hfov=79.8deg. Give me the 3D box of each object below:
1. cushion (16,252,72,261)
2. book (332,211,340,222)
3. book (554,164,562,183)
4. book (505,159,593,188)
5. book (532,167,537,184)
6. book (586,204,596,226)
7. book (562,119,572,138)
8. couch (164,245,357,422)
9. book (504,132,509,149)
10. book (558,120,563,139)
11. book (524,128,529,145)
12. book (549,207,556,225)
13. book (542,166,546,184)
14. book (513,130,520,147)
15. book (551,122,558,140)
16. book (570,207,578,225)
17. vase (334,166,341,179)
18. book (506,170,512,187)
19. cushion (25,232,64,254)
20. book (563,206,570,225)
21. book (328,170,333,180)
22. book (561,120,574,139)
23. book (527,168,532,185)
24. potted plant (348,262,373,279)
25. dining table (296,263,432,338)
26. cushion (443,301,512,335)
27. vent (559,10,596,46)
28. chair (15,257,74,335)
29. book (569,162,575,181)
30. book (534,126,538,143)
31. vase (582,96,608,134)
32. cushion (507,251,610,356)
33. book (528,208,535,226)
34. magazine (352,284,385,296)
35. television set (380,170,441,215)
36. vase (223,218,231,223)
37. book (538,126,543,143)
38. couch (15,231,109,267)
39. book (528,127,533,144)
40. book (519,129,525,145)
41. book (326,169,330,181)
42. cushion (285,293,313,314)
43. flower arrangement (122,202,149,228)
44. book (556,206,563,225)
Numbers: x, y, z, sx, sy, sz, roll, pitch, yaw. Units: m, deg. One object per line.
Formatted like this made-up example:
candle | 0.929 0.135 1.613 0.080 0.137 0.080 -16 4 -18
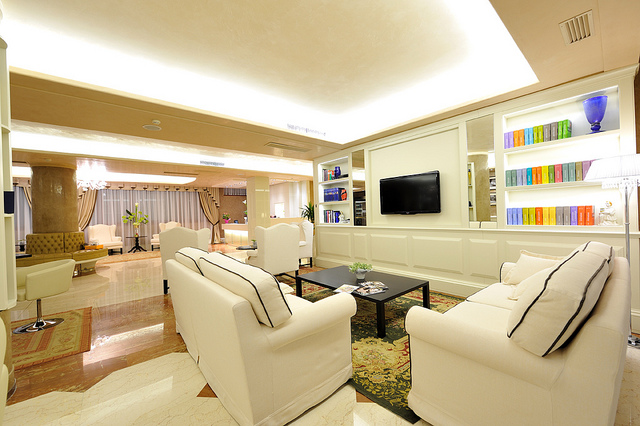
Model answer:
cushion | -5.721 0.907 8.021 0.233 0.112 0.965 -2 -1 37
book | 0.344 0.080 8.361 0.037 0.149 0.157 4 0 -42
book | 3.318 -0.555 5.338 0.092 0.231 0.019 -1 0 33
book | 3.216 -0.555 5.449 1.047 0.230 0.164 -2 0 32
book | 3.078 -0.539 5.491 0.058 0.244 0.029 -1 0 34
book | 3.660 0.044 5.175 0.121 0.377 0.266 0 -2 35
book | 3.457 -1.165 5.326 0.190 0.254 0.078 -1 0 -32
couch | -0.627 0.580 4.445 1.499 1.593 2.907 -9 8 -40
book | 2.755 -1.078 5.676 0.044 0.170 0.185 4 10 15
book | 3.339 -1.160 5.324 0.043 0.179 0.175 3 -1 37
book | 2.989 -1.104 5.535 0.040 0.169 0.167 0 3 26
book | 3.274 0.043 5.393 0.078 0.239 0.020 -1 0 38
book | 3.173 -0.543 5.427 0.038 0.244 0.033 -1 0 31
book | 2.881 -1.100 5.612 0.041 0.171 0.167 3 7 11
book | 3.277 -1.148 5.356 0.078 0.236 0.026 -1 0 30
book | 3.482 0.037 5.256 0.087 0.242 0.015 -1 0 43
vase | 0.386 -0.866 8.250 0.128 0.231 0.159 -1 0 -17
book | 2.795 -0.515 5.663 0.076 0.157 0.017 -1 0 23
cushion | -5.873 0.645 8.209 0.666 0.539 0.292 -1 0 -35
book | 3.416 0.039 5.302 0.133 0.238 0.249 -1 -4 30
book | 0.222 -0.845 8.403 0.128 0.178 0.041 -1 0 44
book | 3.447 -1.164 5.321 0.231 0.288 0.078 -1 0 -34
book | 3.025 -0.530 5.525 0.059 0.237 0.021 -1 0 25
potted plant | 0.574 0.844 5.628 0.257 0.141 0.254 0 -4 -2
dining table | 0.675 0.974 5.393 1.002 0.693 1.497 -8 6 -39
cushion | 1.843 1.185 4.245 0.478 0.121 0.517 16 -35 34
vent | 2.960 -2.129 4.408 0.312 0.184 0.374 -2 -1 37
chair | -4.004 1.198 5.729 0.926 1.086 0.979 -2 -4 36
book | 3.443 -0.565 5.235 0.060 0.249 0.027 -1 0 31
book | 3.087 -1.118 5.476 0.045 0.170 0.185 3 8 23
vase | 3.733 -1.292 5.197 0.300 0.442 0.299 3 -3 -29
cushion | 2.649 0.812 4.124 1.965 0.761 0.741 -10 16 -44
book | 3.067 0.056 5.543 0.140 0.253 0.265 0 0 22
magazine | 0.645 1.015 5.034 0.357 0.100 0.242 -1 -1 -33
television set | 1.556 -0.338 6.785 0.104 0.577 1.176 -2 0 -44
vase | -3.918 0.332 16.145 0.174 0.193 0.174 -3 -8 2
book | 3.133 -1.123 5.442 0.042 0.172 0.173 1 6 23
couch | -5.596 0.786 8.431 0.608 0.715 1.867 3 3 26
book | 3.038 -1.115 5.520 0.040 0.166 0.164 1 6 30
book | 2.944 -1.105 5.582 0.042 0.168 0.167 2 10 15
book | 0.177 -0.844 8.480 0.045 0.349 0.269 1 0 11
cushion | -0.249 1.063 4.483 0.310 0.101 0.437 -1 2 -40
flower arrangement | -6.466 0.032 13.504 0.803 0.810 0.789 3 15 -1
book | 3.343 0.040 5.347 0.128 0.234 0.245 0 -4 29
